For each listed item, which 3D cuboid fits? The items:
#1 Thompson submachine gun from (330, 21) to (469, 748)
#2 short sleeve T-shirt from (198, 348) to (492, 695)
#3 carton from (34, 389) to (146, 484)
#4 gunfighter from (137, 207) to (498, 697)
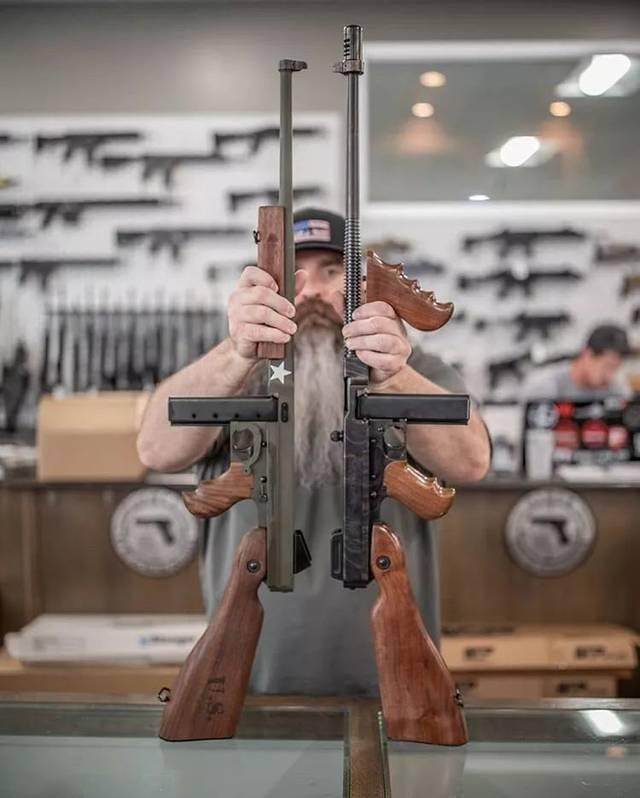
[{"bbox_3d":[0.115,-0.021,1.546,0.205,0.992,0.343,-1,13,8],"label":"Thompson submachine gun"},{"bbox_3d":[0.021,0.194,1.691,0.442,0.619,0.163,0,-3,3],"label":"short sleeve T-shirt"},{"bbox_3d":[-0.431,0.085,2.038,0.325,0.178,0.160,0,-2,-4],"label":"carton"},{"bbox_3d":[-0.042,0.107,1.885,0.602,0.162,0.761,13,35,11],"label":"gunfighter"}]
